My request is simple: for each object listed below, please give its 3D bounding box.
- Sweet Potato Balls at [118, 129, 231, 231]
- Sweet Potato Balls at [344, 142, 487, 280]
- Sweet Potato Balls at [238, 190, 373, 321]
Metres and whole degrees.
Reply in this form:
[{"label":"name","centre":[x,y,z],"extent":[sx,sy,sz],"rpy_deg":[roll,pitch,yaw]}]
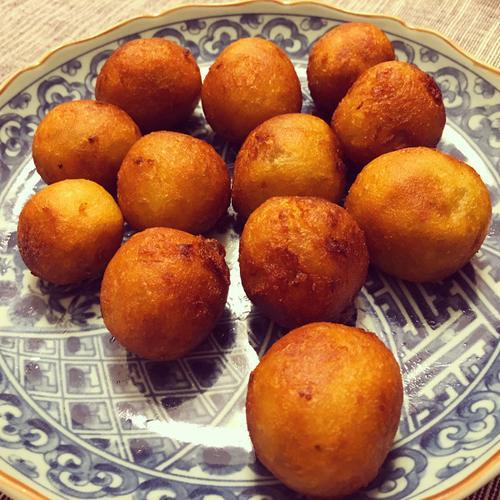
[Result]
[{"label":"Sweet Potato Balls","centre":[-0.169,-0.133,1.087],"extent":[0.259,0.250,0.166],"rpy_deg":[5,94,7]},{"label":"Sweet Potato Balls","centre":[0.258,-0.051,1.029],"extent":[0.242,0.166,0.204],"rpy_deg":[-24,60,-11]},{"label":"Sweet Potato Balls","centre":[0.088,0.012,0.970],"extent":[0.246,0.200,0.183],"rpy_deg":[1,85,-8]}]
